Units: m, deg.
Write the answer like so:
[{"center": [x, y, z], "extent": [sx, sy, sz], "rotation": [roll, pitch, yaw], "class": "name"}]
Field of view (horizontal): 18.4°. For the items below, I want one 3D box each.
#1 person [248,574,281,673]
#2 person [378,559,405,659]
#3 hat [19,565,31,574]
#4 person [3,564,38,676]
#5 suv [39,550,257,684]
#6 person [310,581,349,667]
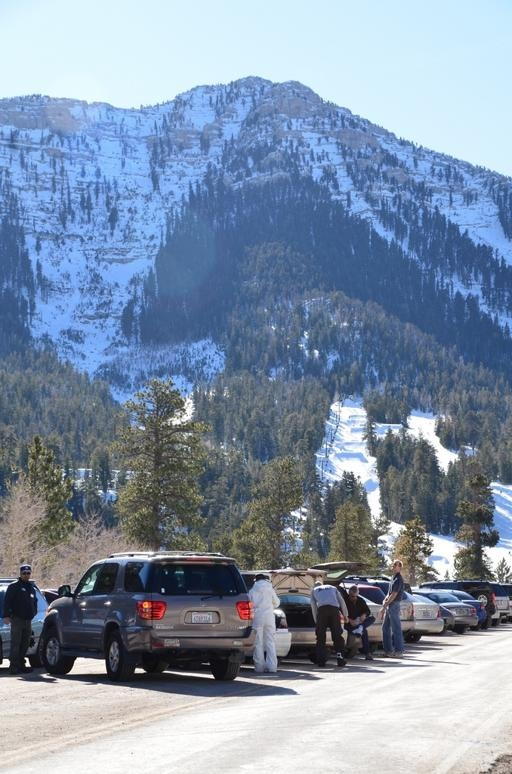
[{"center": [0.105, 3.557, 24.692], "extent": [0.380, 1.840, 0.556], "rotation": [-1, 28, 1], "class": "person"}, {"center": [2.445, 3.996, 28.538], "extent": [0.379, 1.963, 1.346], "rotation": [1, 6, 5], "class": "person"}, {"center": [-3.544, 2.815, 24.469], "extent": [0.144, 0.179, 0.262], "rotation": [5, -10, -7], "class": "hat"}, {"center": [-3.611, 3.577, 24.348], "extent": [0.476, 1.607, 0.452], "rotation": [-2, 6, -21], "class": "person"}, {"center": [-1.718, 3.239, 22.904], "extent": [1.369, 1.922, 3.051], "rotation": [5, -8, -24], "class": "suv"}, {"center": [1.194, 3.982, 26.142], "extent": [0.584, 1.463, 1.134], "rotation": [0, 6, 3], "class": "person"}]
